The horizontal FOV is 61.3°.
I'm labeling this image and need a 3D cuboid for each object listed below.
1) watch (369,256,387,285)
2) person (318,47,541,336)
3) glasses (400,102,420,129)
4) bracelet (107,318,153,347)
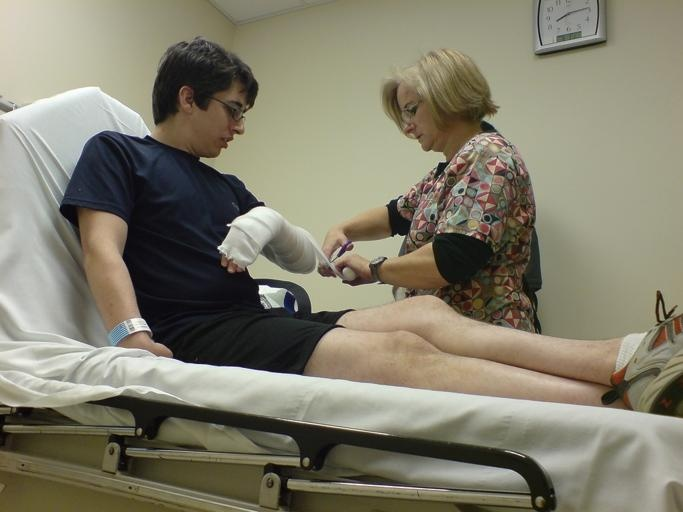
[{"bbox_3d":[0.124,0.036,1.874,0.055,0.093,0.080,2,-3,9],"label":"watch"},{"bbox_3d":[0.296,-0.035,2.018,0.675,1.367,0.679,0,-1,-10],"label":"person"},{"bbox_3d":[0.236,-0.501,2.069,0.059,0.105,0.072,10,0,-19],"label":"glasses"},{"bbox_3d":[-0.501,0.179,1.383,0.090,0.061,0.083,2,-19,-38],"label":"bracelet"}]
